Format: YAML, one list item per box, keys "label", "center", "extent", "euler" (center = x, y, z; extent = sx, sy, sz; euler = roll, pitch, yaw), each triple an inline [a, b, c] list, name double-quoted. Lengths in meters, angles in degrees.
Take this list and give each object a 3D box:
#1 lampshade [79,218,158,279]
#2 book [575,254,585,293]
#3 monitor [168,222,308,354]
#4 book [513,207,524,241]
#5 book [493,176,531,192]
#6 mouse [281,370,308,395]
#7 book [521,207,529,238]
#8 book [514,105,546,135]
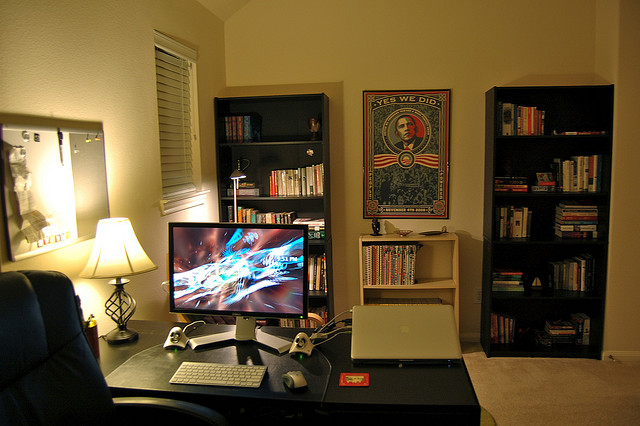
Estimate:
- label: "lampshade"
  center: [-1.343, 0.237, 3.580]
  extent: [0.438, 0.349, 0.427]
  euler: [-4, 10, 1]
- label: "book"
  center: [2.552, 0.598, 5.067]
  extent: [0.059, 0.324, 0.133]
  euler: [1, 5, 3]
- label: "monitor"
  center: [-0.527, 0.473, 3.455]
  extent: [0.963, 0.800, 0.328]
  euler: [0, 1, 14]
- label: "book"
  center: [1.946, 0.111, 5.045]
  extent: [0.095, 0.250, 0.265]
  euler: [-2, 13, 13]
- label: "book"
  center: [1.837, -0.282, 4.985]
  extent: [0.341, 0.143, 0.162]
  euler: [1, 5, 5]
- label: "mouse"
  center: [-0.150, 0.992, 3.073]
  extent: [0.150, 0.102, 0.173]
  euler: [0, 5, -3]
- label: "book"
  center: [2.007, 0.095, 5.043]
  extent: [0.053, 0.215, 0.217]
  euler: [4, 4, 21]
- label: "book"
  center: [2.165, -0.893, 5.077]
  extent: [0.287, 0.303, 0.370]
  euler: [14, 20, 35]
